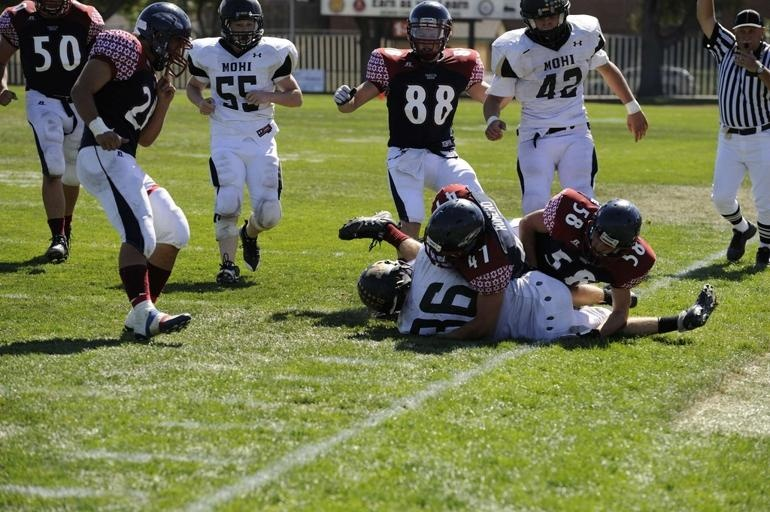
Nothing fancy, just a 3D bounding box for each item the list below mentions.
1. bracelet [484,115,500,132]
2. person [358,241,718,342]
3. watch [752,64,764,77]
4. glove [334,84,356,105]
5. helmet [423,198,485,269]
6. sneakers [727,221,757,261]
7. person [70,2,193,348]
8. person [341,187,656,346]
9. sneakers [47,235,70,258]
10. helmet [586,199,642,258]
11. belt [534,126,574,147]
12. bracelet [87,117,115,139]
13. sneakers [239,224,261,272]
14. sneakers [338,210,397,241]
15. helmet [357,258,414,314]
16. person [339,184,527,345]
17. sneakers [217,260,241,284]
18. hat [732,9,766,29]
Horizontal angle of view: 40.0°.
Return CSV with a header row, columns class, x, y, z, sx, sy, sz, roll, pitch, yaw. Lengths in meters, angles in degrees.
class,x,y,z,sx,sy,sz,roll,pitch,yaw
bracelet,0.862,-1.065,8.510,0.095,0.075,0.102,-40,43,-23
person,1.016,0.091,7.585,1.883,0.466,0.986,2,6,1
watch,3.184,-1.577,9.024,0.062,0.086,0.092,0,21,9
glove,-0.333,-1.301,8.530,0.186,0.157,0.130,-1,25,-15
helmet,0.466,-0.187,7.385,0.355,0.385,0.488,18,25,38
sneakers,3.232,-0.132,9.566,0.153,0.335,0.115,30,2,-26
person,-1.787,-0.622,7.444,0.807,2.273,0.966,2,12,4
person,0.781,0.057,7.721,1.992,1.078,0.667,-6,-16,-5
sneakers,-2.853,-0.074,9.107,0.169,0.198,0.295,-1,12,-11
helmet,1.583,-0.211,7.249,0.290,0.381,0.363,32,-16,8
belt,1.362,-0.972,8.653,0.245,0.060,0.176,-14,8,14
bracelet,-1.961,-0.872,7.234,0.136,0.121,0.143,-41,8,-9
sneakers,-1.189,-0.084,9.134,0.159,0.406,0.179,-11,4,-13
sneakers,-0.158,-0.221,8.023,0.371,0.151,0.209,-5,13,-3
helmet,-0.017,0.220,7.773,0.385,0.323,0.406,-10,1,-41
person,0.278,-0.125,7.699,1.484,0.506,1.136,8,34,25
sneakers,-1.321,0.150,8.825,0.110,0.133,0.287,-2,-1,2
hat,3.185,-2.049,9.201,0.238,0.150,0.311,4,10,30
